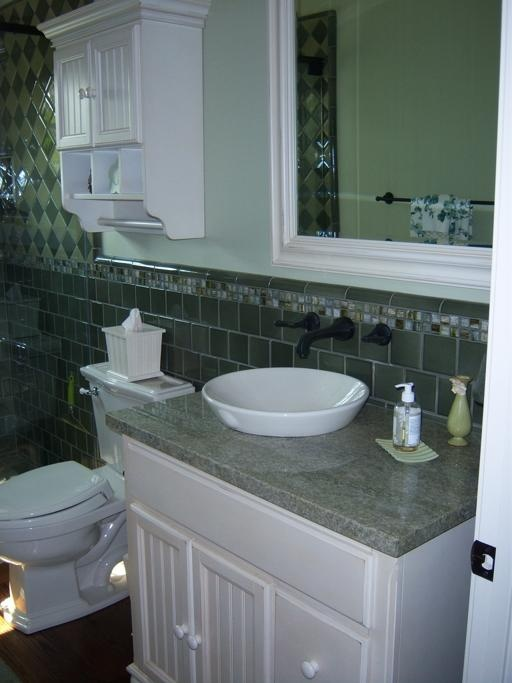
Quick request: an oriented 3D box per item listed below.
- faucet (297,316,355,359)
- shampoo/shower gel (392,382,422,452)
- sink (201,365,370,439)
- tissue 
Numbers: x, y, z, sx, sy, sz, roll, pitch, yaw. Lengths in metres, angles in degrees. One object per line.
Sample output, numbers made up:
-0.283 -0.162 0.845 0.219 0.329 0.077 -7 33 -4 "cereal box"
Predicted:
0.162 -0.007 1.460 0.188 0.098 0.084 -14 9 -41 "faucet"
0.308 0.156 1.199 0.049 0.145 0.060 1 20 -15 "shampoo/shower gel"
0.063 0.152 1.399 0.393 0.110 0.426 -6 11 -17 "sink"
-0.493 0.031 2.315 0.186 0.308 0.208 -12 22 -40 "tissue "
